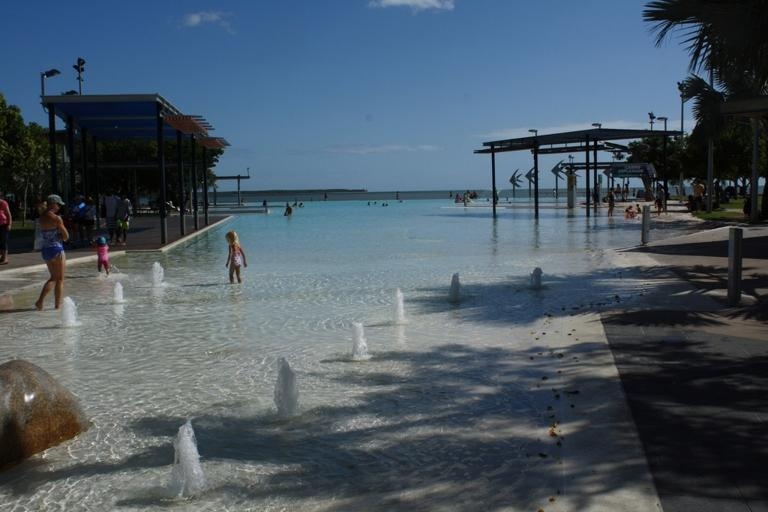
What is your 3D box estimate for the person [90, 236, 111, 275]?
[{"bbox_3d":[-8.094,-0.068,16.166,0.365,1.069,1.603,-12,12,-27],"label":"person"}]
